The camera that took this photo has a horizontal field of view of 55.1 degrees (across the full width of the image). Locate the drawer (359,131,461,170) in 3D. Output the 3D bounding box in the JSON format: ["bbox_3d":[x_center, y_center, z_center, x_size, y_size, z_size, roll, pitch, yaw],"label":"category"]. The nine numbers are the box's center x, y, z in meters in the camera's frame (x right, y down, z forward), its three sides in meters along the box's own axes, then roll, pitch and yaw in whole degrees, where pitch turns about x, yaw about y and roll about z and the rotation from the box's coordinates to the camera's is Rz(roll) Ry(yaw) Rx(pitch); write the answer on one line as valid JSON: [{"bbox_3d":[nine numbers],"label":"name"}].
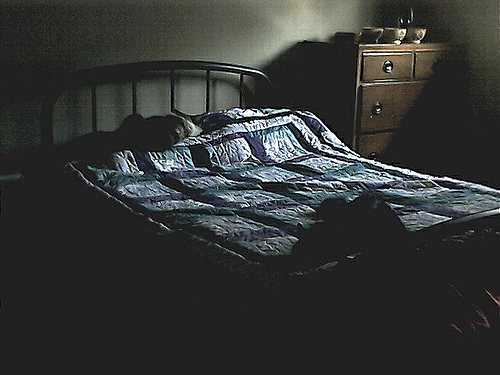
[{"bbox_3d":[1.253,-0.311,3.845,0.585,0.244,0.452,-10,17,-31],"label":"drawer"}]

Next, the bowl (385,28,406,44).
[{"bbox_3d":[1.152,-1.209,3.840,0.138,0.077,0.140,0,14,0],"label":"bowl"}]

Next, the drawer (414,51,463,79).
[{"bbox_3d":[1.470,-1.066,4.126,0.473,0.288,0.368,-9,21,-30],"label":"drawer"}]

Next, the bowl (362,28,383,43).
[{"bbox_3d":[0.954,-1.177,3.725,0.159,0.103,0.107,0,23,-2],"label":"bowl"}]

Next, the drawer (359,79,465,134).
[{"bbox_3d":[1.193,-0.682,4.159,0.962,0.510,0.622,-7,16,-25],"label":"drawer"}]

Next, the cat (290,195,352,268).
[{"bbox_3d":[0.247,0.138,1.496,0.060,0.182,0.215,13,-9,-37],"label":"cat"}]

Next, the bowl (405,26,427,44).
[{"bbox_3d":[1.383,-1.260,4.029,0.191,0.107,0.170,-2,10,-3],"label":"bowl"}]
